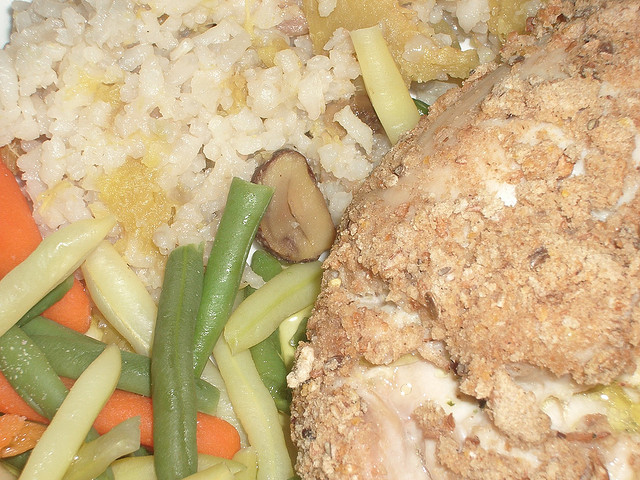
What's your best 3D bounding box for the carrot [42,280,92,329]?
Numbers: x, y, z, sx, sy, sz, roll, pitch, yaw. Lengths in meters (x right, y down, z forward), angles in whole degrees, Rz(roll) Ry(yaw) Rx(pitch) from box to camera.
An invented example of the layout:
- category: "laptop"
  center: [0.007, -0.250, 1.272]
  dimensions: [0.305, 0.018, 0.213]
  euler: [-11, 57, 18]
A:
- category: "carrot"
  center: [-0.862, 0.228, 2.182]
  dimensions: [0.087, 0.120, 0.170]
  euler: [9, 91, 46]
